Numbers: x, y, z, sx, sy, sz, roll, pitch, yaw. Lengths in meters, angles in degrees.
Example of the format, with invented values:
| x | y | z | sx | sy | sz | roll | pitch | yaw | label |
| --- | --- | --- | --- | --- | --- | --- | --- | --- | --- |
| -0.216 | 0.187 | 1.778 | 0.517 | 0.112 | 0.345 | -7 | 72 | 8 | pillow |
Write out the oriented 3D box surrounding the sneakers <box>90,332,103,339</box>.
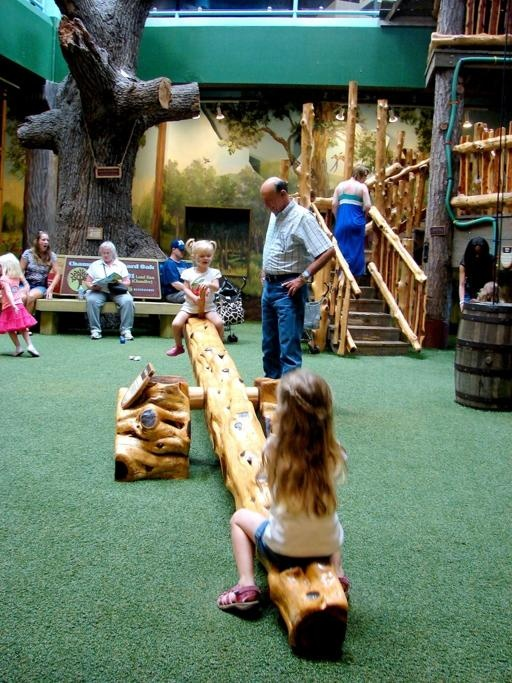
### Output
| x | y | z | sx | sy | sz | roll | pitch | yaw | label |
| --- | --- | --- | --- | --- | --- | --- | --- | --- | --- |
| -2.394 | -0.105 | 7.327 | 0.081 | 0.106 | 0.240 | 0 | 12 | -8 | sneakers |

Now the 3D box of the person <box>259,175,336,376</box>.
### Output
| x | y | z | sx | sy | sz | roll | pitch | yaw | label |
| --- | --- | --- | --- | --- | --- | --- | --- | --- | --- |
| 0.179 | -0.379 | 3.168 | 0.446 | 1.285 | 0.571 | 1 | 4 | -36 | person |

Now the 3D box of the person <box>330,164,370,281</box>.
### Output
| x | y | z | sx | sy | sz | roll | pitch | yaw | label |
| --- | --- | --- | --- | --- | --- | --- | --- | --- | --- |
| 1.400 | -1.816 | 7.304 | 0.531 | 1.634 | 0.410 | 3 | 4 | 1 | person |

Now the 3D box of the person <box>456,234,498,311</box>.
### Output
| x | y | z | sx | sy | sz | roll | pitch | yaw | label |
| --- | --- | --- | --- | --- | --- | --- | --- | --- | --- |
| 2.839 | -0.947 | 6.349 | 0.395 | 0.817 | 0.652 | 5 | 4 | 22 | person |

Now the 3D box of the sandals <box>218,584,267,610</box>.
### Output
| x | y | z | sx | sy | sz | roll | pitch | yaw | label |
| --- | --- | --- | --- | --- | --- | --- | --- | --- | --- |
| -0.040 | 0.676 | 1.349 | 0.122 | 0.060 | 0.056 | -5 | 1 | 33 | sandals |

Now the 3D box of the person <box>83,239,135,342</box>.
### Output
| x | y | z | sx | sy | sz | roll | pitch | yaw | label |
| --- | --- | --- | --- | --- | --- | --- | --- | --- | --- |
| -2.182 | -0.774 | 7.371 | 0.698 | 1.476 | 0.657 | 2 | 4 | -16 | person |
